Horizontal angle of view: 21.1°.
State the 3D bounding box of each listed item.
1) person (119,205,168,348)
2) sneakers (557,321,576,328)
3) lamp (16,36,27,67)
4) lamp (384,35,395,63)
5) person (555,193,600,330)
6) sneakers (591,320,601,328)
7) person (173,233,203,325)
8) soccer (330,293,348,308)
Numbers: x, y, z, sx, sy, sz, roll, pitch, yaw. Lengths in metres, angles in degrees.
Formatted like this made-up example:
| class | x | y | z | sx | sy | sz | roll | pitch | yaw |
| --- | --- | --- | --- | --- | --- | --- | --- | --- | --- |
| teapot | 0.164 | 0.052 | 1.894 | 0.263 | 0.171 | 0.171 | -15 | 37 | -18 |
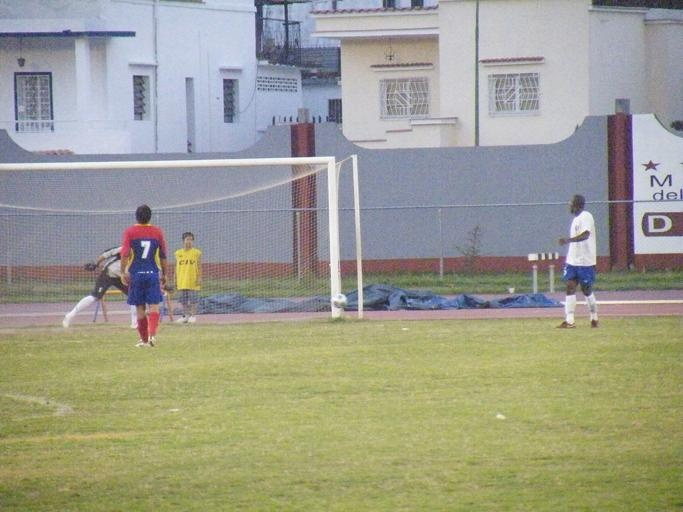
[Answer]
| class | x | y | z | sx | sy | sz | roll | pitch | yaw |
| --- | --- | --- | --- | --- | --- | --- | --- | --- | --- |
| person | -4.848 | 0.451 | 44.572 | 1.074 | 3.367 | 0.390 | -2 | 3 | -6 |
| sneakers | 5.636 | 1.671 | 46.099 | 0.346 | 0.126 | 0.167 | 2 | 1 | 8 |
| lamp | -10.876 | -6.815 | 61.704 | 0.276 | 0.954 | 0.327 | -2 | 3 | -10 |
| lamp | 1.613 | -6.976 | 62.557 | 0.329 | 0.814 | 0.142 | -2 | 3 | 2 |
| person | 5.993 | 0.085 | 46.360 | 0.930 | 3.290 | 1.590 | -2 | 3 | 7 |
| sneakers | 6.390 | 1.639 | 46.168 | 0.195 | 0.176 | 0.170 | 0 | -2 | -7 |
| person | -4.137 | 0.511 | 48.840 | 0.666 | 2.330 | 0.808 | -2 | 3 | -5 |
| soccer | -0.116 | 1.120 | 48.297 | 0.371 | 0.392 | 0.437 | -2 | 3 | -2 |
